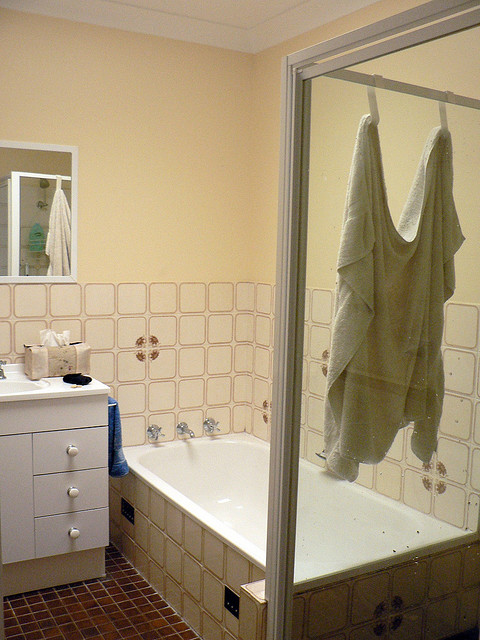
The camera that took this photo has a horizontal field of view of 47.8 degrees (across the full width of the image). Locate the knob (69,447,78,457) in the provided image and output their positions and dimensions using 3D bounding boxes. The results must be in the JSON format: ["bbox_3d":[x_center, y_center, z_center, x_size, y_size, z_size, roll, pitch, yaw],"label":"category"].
[{"bbox_3d":[-0.693,0.544,2.243,0.040,0.046,0.024,3,1,-40],"label":"knob"}]

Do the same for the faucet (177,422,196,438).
[{"bbox_3d":[-0.296,0.599,2.982,0.059,0.059,0.102,-6,11,-33],"label":"faucet"}]

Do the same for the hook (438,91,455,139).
[{"bbox_3d":[0.335,-0.333,0.879,0.007,0.072,0.031,-3,6,-16],"label":"hook"}]

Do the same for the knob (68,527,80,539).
[{"bbox_3d":[-0.696,0.899,2.272,0.045,0.048,0.041,-4,7,-23],"label":"knob"}]

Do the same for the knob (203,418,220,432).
[{"bbox_3d":[-0.166,0.597,3.075,0.080,0.073,0.076,-2,6,-5],"label":"knob"}]

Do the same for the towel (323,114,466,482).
[{"bbox_3d":[0.274,-0.022,1.016,0.046,0.745,0.317,-5,7,-27],"label":"towel"}]

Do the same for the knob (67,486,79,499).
[{"bbox_3d":[-0.695,0.724,2.264,0.047,0.055,0.036,-5,7,-27],"label":"knob"}]
